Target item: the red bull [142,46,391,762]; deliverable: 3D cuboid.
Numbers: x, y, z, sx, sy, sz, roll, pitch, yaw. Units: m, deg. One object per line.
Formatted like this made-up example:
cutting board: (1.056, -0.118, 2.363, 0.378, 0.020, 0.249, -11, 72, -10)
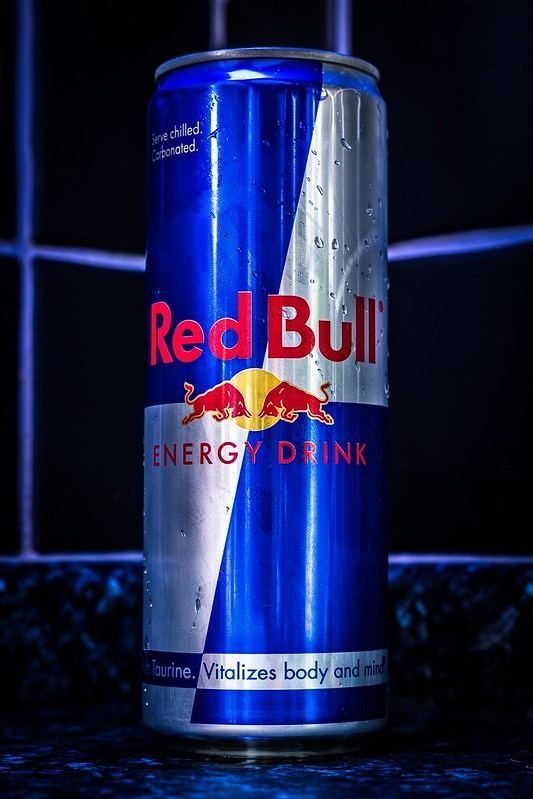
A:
red bull: (0.003, -0.014, 0.771, 0.188, 0.506, 0.128, 2, -4, -9)
